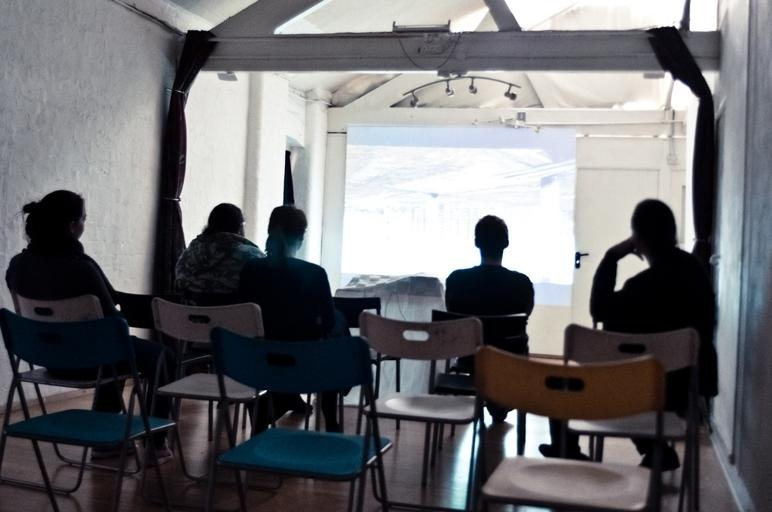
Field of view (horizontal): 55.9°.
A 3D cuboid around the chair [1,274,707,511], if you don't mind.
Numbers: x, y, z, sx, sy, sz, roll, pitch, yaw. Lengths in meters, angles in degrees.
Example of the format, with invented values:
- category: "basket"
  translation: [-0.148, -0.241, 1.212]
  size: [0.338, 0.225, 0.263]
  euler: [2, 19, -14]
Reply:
- category: "chair"
  translation: [-0.357, 0.920, 3.881]
  size: [3.442, 1.236, 1.032]
  euler: [0, 1, 19]
